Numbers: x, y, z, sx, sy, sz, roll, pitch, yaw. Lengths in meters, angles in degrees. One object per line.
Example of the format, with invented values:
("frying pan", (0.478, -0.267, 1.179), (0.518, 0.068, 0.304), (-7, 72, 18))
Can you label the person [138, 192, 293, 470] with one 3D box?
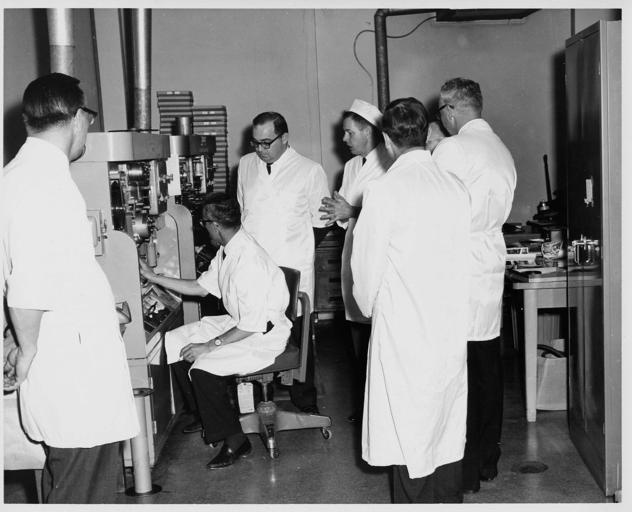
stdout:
("person", (-0.487, 0.364, 3.503), (0.644, 1.359, 0.453), (0, 8, 24))

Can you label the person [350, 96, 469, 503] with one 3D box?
("person", (0.378, 0.193, 2.680), (0.449, 1.581, 0.229), (-6, 8, -19))

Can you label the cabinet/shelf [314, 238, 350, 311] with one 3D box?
("cabinet/shelf", (0.096, 0.177, 6.098), (0.369, 0.626, 0.405), (0, -1, -4))

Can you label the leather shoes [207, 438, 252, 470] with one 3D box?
("leather shoes", (-0.433, 1.000, 3.499), (0.252, 0.114, 0.089), (-25, 19, -35))

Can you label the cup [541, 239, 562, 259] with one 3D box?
("cup", (1.395, -0.046, 4.099), (0.080, 0.110, 0.113), (4, -12, 14))

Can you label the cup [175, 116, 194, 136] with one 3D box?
("cup", (-0.899, -0.896, 4.702), (0.104, 0.132, 0.192), (-5, 8, -11))

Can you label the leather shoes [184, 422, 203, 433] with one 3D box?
("leather shoes", (-0.688, 0.962, 3.886), (0.110, 0.049, 0.043), (-1, 47, -21))

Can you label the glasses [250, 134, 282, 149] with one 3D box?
("glasses", (-0.290, -0.664, 4.002), (0.092, 0.035, 0.102), (1, 23, 26))

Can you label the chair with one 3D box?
("chair", (-0.261, 0.506, 4.034), (0.743, 1.297, 0.881), (1, 1, -15))

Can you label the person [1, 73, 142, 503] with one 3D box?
("person", (-0.887, 0.157, 2.389), (0.433, 1.552, 0.275), (-6, 8, -18))

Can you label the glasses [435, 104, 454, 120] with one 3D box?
("glasses", (0.610, -0.682, 3.222), (0.060, 0.019, 0.064), (-20, 18, 48))
